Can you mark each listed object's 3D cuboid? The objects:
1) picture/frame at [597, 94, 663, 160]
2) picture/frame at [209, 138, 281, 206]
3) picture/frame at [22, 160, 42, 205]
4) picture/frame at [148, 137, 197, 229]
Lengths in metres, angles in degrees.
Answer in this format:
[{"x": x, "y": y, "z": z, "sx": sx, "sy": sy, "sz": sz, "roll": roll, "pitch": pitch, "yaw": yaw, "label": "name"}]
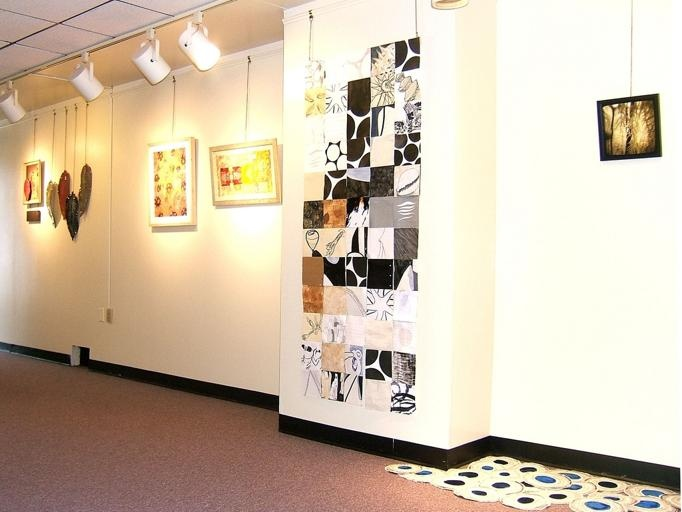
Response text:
[{"x": 1.931, "y": -0.858, "z": 3.551, "sx": 0.443, "sy": 0.474, "sz": 0.032, "roll": 1, "pitch": 3, "yaw": 41, "label": "picture/frame"}, {"x": -0.972, "y": -0.828, "z": 5.430, "sx": 0.907, "sy": 0.643, "sz": 0.136, "roll": 2, "pitch": 2, "yaw": 35, "label": "picture/frame"}, {"x": -4.428, "y": -1.059, "z": 7.703, "sx": 0.626, "sy": 0.776, "sz": 0.028, "roll": 2, "pitch": -2, "yaw": 45, "label": "picture/frame"}, {"x": -1.857, "y": -0.818, "z": 5.970, "sx": 0.952, "sy": 1.189, "sz": 0.114, "roll": -3, "pitch": -5, "yaw": 42, "label": "picture/frame"}]
